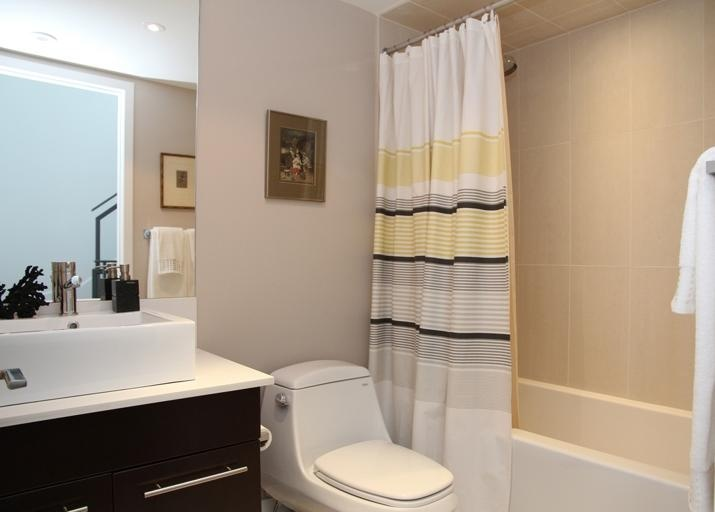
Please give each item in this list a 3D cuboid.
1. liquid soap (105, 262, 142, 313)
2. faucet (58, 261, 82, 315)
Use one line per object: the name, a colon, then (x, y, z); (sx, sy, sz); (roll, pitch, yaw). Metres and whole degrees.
liquid soap: (-1.009, 0.138, 2.176); (0.196, 0.272, 0.093); (-1, 2, -39)
faucet: (-1.186, 0.132, 2.098); (0.077, 0.208, 0.092); (-4, 5, -37)
